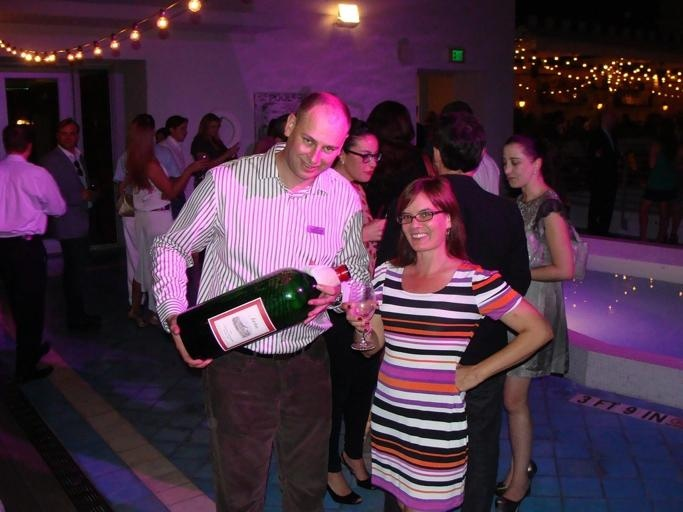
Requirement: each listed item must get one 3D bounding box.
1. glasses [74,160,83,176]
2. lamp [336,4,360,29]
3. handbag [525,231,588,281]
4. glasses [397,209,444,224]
[{"bbox_3d":[-2.572,-0.860,4.988,0.015,0.139,0.040,-2,19,44],"label":"glasses"},{"bbox_3d":[0.131,-3.955,8.274,0.414,0.380,0.214,-3,14,-9],"label":"lamp"},{"bbox_3d":[1.128,-0.027,2.633,0.285,0.307,0.204,-15,12,-37],"label":"handbag"},{"bbox_3d":[0.285,-0.139,1.842,0.160,0.060,0.041,1,14,8],"label":"glasses"}]
